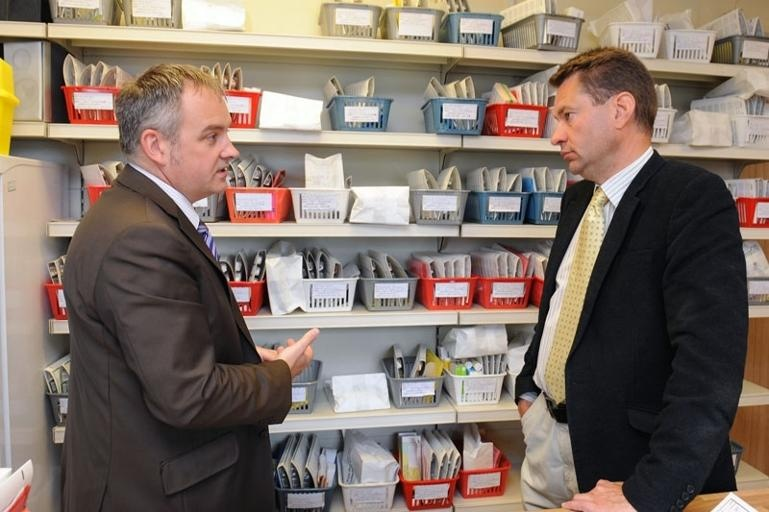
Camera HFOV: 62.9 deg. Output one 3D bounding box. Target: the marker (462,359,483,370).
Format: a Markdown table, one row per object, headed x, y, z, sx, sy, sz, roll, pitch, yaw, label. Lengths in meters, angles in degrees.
| x | y | z | sx | sy | sz | roll | pitch | yaw | label |
| --- | --- | --- | --- | --- | --- | --- | --- | --- | --- |
| 0.496 | 0.612 | 3.535 | 0.054 | 0.030 | 0.075 | -8 | 29 | -13 | marker |

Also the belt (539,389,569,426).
| x | y | z | sx | sy | sz | roll | pitch | yaw | label |
| --- | --- | --- | --- | --- | --- | --- | --- | --- | --- |
| 0.743 | 0.671 | 2.729 | 0.078 | 0.093 | 0.095 | 1 | 1 | 2 | belt |

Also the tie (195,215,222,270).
| x | y | z | sx | sy | sz | roll | pitch | yaw | label |
| --- | --- | --- | --- | --- | --- | --- | --- | --- | --- |
| -0.786 | -0.068 | 2.716 | 0.078 | 0.070 | 0.264 | 7 | -13 | -3 | tie |
